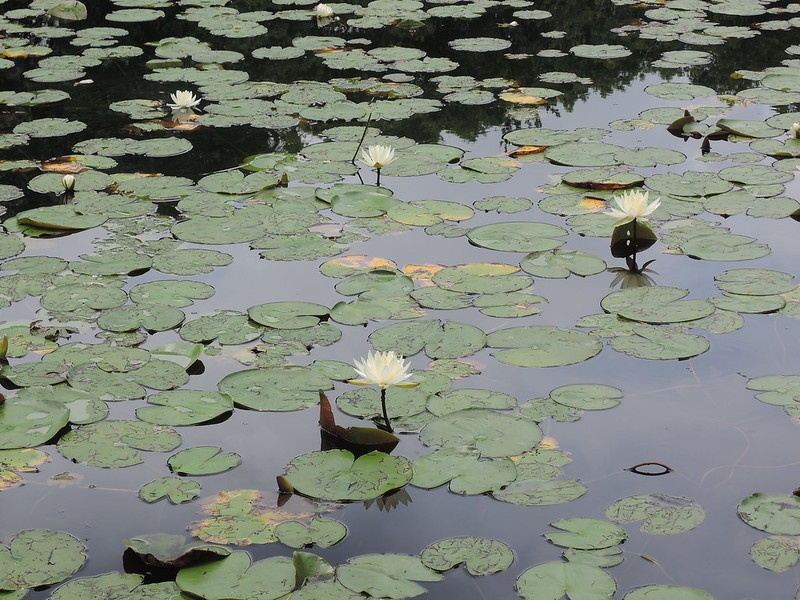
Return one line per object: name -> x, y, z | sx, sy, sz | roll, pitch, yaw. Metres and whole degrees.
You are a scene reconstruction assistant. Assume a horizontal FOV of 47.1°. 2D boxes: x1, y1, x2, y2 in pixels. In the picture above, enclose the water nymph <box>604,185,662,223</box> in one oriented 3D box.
water nymph -> 1.637, -0.647, 6.253 | 0.396, 0.175, 0.483 | 12, 26, 38
